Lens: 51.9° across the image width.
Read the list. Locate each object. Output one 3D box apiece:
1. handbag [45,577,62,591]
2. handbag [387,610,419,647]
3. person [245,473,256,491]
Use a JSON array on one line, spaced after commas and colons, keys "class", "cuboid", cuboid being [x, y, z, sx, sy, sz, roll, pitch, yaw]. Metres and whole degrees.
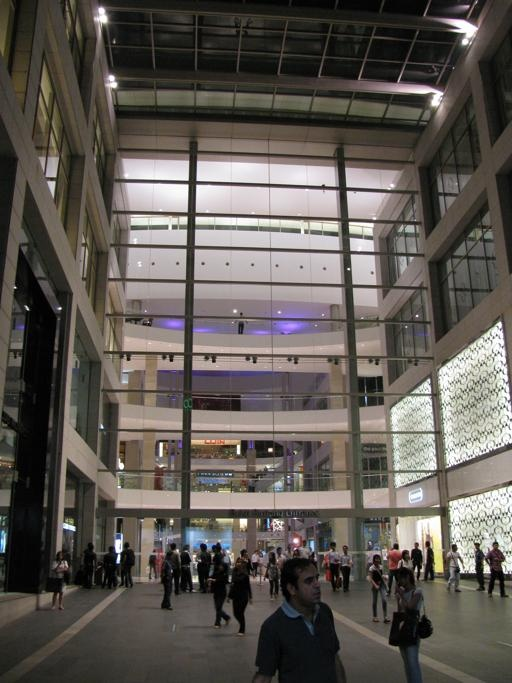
[{"class": "handbag", "cuboid": [-4.926, 5.898, 12.780, 0.369, 0.417, 0.240, -1, -8, 7]}, {"class": "handbag", "cuboid": [1.446, 2.805, 5.130, 0.275, 0.306, 0.235, -6, -21, 15]}, {"class": "person", "cuboid": [-0.281, 6.774, 25.294, 0.546, 1.232, 0.604, 0, -13, 8]}]
